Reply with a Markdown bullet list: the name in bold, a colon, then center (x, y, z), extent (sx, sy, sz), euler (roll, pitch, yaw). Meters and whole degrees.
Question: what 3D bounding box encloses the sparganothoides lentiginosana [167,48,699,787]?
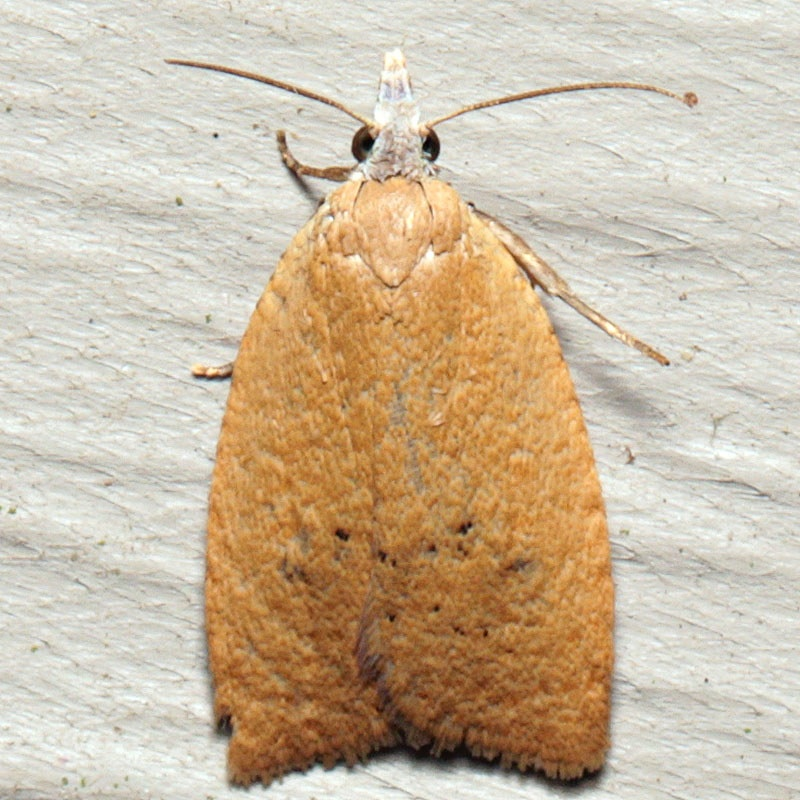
- **sparganothoides lentiginosana**: center (0.078, -0.092, 3.443), extent (1.555, 0.584, 1.998), euler (0, 96, -40)
